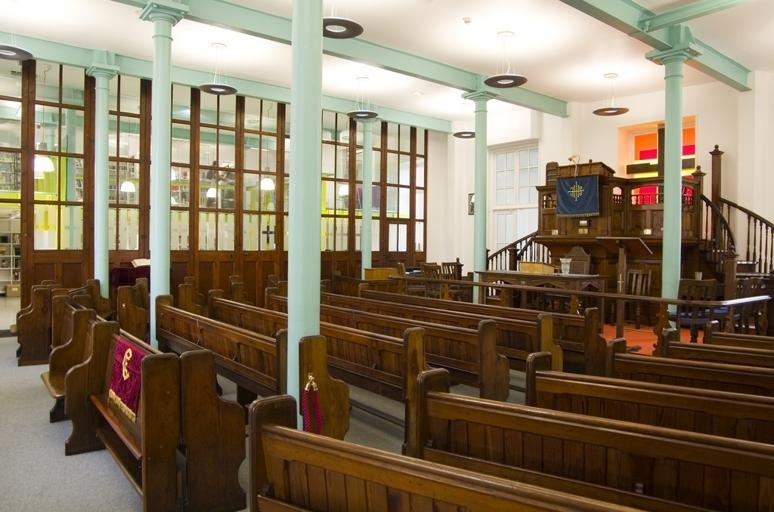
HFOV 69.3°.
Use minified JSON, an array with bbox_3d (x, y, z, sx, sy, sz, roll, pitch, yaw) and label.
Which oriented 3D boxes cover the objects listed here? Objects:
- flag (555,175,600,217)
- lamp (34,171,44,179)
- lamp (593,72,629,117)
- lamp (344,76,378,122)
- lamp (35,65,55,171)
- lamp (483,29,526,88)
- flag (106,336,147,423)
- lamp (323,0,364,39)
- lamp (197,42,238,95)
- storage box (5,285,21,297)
[{"bbox_3d":[3.882,-1.222,11.405,0.093,0.876,0.921,2,-1,-40],"label":"flag"},{"bbox_3d":[-6.723,-1.580,10.883,0.126,0.066,0.126,0,-3,3],"label":"lamp"},{"bbox_3d":[4.680,-3.431,11.772,0.769,0.744,0.773,4,9,41],"label":"lamp"},{"bbox_3d":[-0.563,-3.478,13.077,0.843,0.918,0.828,0,-4,-1],"label":"lamp"},{"bbox_3d":[-6.582,-2.880,10.929,0.411,1.760,0.133,0,1,-32],"label":"lamp"},{"bbox_3d":[2.116,-3.549,9.967,0.711,0.738,0.709,-11,30,-8],"label":"lamp"},{"bbox_3d":[-2.329,1.138,5.038,0.133,0.612,0.831,2,4,-34],"label":"flag"},{"bbox_3d":[-0.622,-3.241,7.848,0.521,0.205,0.714,0,1,-6],"label":"lamp"},{"bbox_3d":[-3.259,-3.719,10.941,0.688,0.799,0.727,7,17,-1],"label":"lamp"},{"bbox_3d":[-7.621,0.714,11.461,0.376,0.259,0.354,1,3,-38],"label":"storage box"}]
